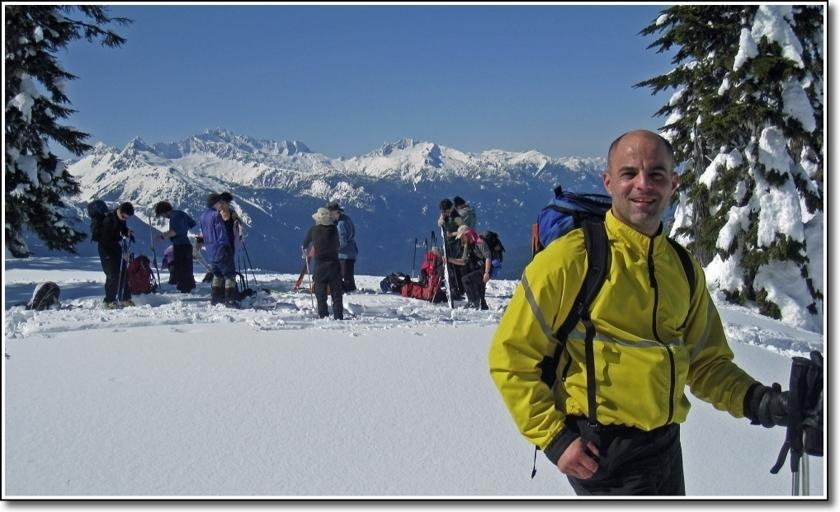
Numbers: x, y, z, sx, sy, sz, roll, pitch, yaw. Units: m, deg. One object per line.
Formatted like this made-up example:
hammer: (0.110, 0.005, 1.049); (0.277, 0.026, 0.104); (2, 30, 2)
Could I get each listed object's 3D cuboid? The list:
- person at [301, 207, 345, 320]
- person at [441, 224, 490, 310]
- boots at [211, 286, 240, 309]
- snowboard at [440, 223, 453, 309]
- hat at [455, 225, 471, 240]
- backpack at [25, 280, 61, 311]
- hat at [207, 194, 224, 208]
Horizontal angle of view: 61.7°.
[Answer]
person: (-2.500, 0.173, 18.128); (1.014, 2.809, 1.384); (-1, 5, -10)
person: (1.466, 0.333, 19.291); (1.030, 2.292, 0.426); (2, 6, 27)
boots: (-5.205, 1.127, 18.951); (0.613, 0.685, 0.631); (2, 6, 8)
snowboard: (0.732, 0.318, 19.755); (0.174, 2.355, 0.264); (2, 7, 31)
hat: (1.197, -0.641, 19.348); (0.405, 0.382, 0.452); (0, 5, 3)
backpack: (-9.711, 1.054, 18.189); (0.532, 0.868, 0.347); (27, -28, -30)
hat: (-5.504, -1.455, 18.734); (0.317, 0.368, 0.570); (0, 5, 4)
